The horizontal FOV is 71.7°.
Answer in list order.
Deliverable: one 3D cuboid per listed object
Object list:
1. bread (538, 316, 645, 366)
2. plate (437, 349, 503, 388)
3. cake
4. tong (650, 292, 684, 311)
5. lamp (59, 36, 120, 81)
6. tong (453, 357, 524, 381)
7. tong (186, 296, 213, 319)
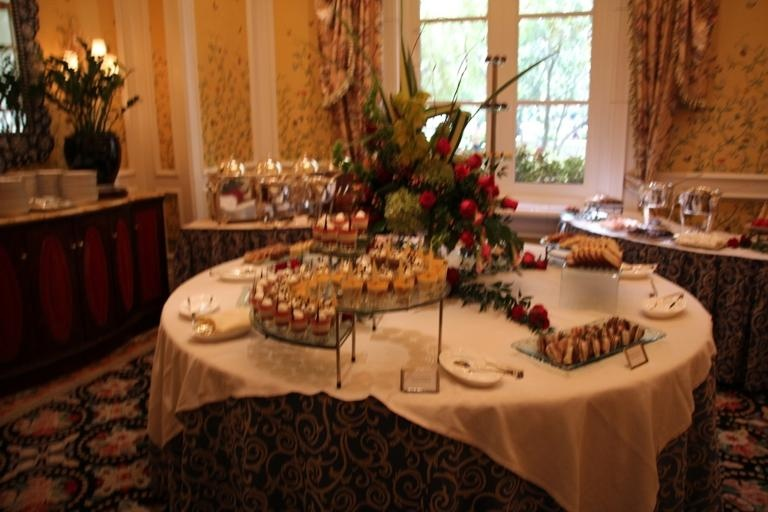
[{"bbox_3d":[0.930,0.376,2.401,0.370,0.083,0.229,-14,13,-21],"label":"bread"},{"bbox_3d":[0.369,0.490,2.297,0.278,0.093,0.129,9,17,31],"label":"plate"},{"bbox_3d":[-0.131,0.101,2.554,0.611,0.177,0.663,0,20,13],"label":"cake"},{"bbox_3d":[1.470,0.226,2.752,0.091,0.044,0.144,-3,18,45],"label":"tong"},{"bbox_3d":[-2.715,-1.869,4.953,0.510,0.170,0.538,2,52,-31],"label":"lamp"},{"bbox_3d":[0.449,0.483,2.296,0.187,0.040,0.120,9,1,20],"label":"tong"},{"bbox_3d":[-0.961,0.257,2.774,0.112,0.031,0.117,-4,33,-14],"label":"tong"}]
